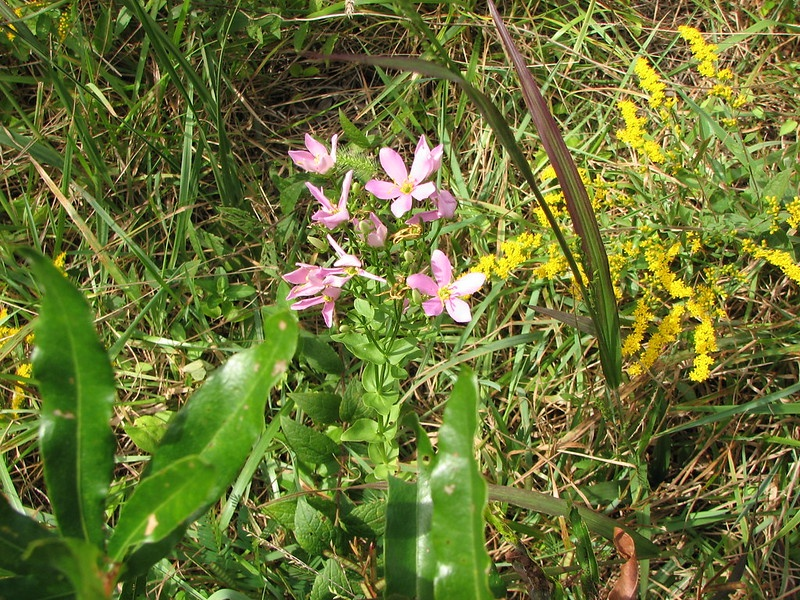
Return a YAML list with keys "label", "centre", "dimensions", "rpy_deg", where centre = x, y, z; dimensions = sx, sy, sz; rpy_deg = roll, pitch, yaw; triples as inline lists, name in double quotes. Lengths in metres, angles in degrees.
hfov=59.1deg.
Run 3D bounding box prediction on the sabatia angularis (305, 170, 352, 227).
- label: "sabatia angularis"
  centre: [-0.227, -0.318, 2.343]
  dimensions: [0.133, 0.151, 0.091]
  rpy_deg: [-18, 89, 6]
